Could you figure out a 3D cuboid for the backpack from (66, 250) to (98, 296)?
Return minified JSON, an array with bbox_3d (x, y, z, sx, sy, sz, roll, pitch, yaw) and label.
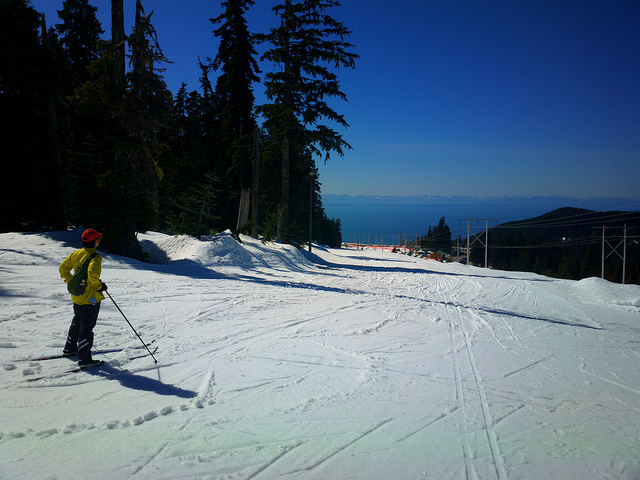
[{"bbox_3d":[-5.026,0.739,10.159,0.563,0.910,0.276,1,8,-25],"label":"backpack"}]
